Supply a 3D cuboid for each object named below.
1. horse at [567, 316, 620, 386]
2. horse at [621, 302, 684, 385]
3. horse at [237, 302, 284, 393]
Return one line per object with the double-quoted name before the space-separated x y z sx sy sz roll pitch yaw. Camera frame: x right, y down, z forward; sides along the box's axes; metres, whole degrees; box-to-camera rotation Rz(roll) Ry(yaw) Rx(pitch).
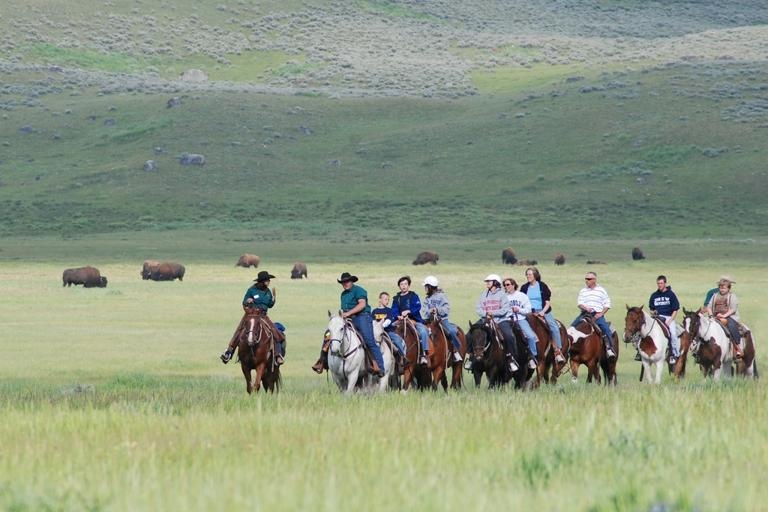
"horse" 24.767 12.720 191.331 3.814 8.204 14.622 -6 -11 37
"horse" 35.814 11.824 190.552 7.911 10.449 4.818 -2 16 0
"horse" -16.648 12.960 190.483 4.794 8.759 13.843 0 0 -4
